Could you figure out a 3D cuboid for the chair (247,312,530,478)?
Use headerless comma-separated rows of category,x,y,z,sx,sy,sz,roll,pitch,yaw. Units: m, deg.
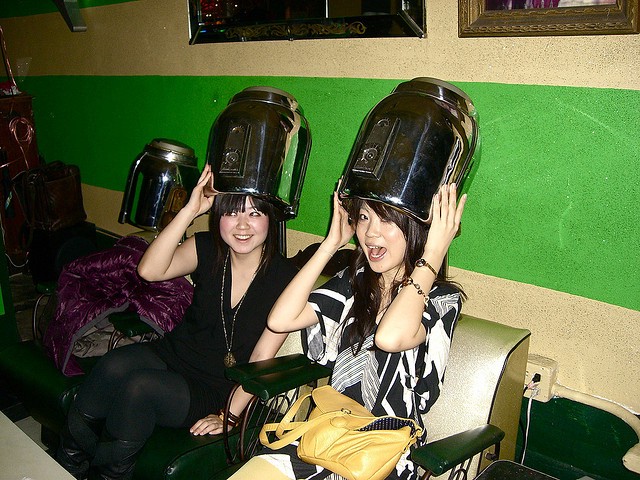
chair,0.436,0.518,1.840,0.486,0.518,0.383,5,-3,-39

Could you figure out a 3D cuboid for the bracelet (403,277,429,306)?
bracelet,0.306,0.154,1.599,0.036,0.063,0.099,-37,79,-12
